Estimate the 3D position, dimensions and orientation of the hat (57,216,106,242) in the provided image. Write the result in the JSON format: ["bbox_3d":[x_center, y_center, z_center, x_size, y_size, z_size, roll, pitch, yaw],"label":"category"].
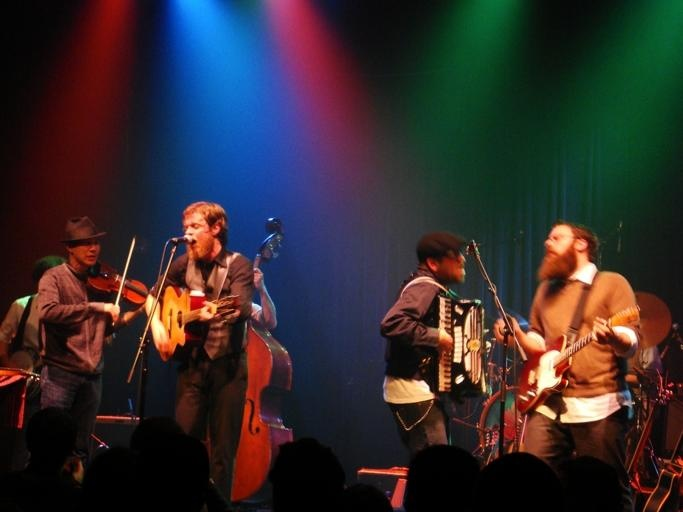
[{"bbox_3d":[-3.232,-0.338,8.121,0.357,0.167,0.311,-15,1,15],"label":"hat"}]

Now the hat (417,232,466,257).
[{"bbox_3d":[0.964,-0.117,6.513,0.346,0.199,0.265,-26,4,6],"label":"hat"}]

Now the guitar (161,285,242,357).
[{"bbox_3d":[-1.447,0.662,6.358,0.992,0.732,0.336,1,-8,41],"label":"guitar"}]

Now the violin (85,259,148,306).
[{"bbox_3d":[-2.663,0.331,7.774,0.871,0.346,0.173,33,-58,-30],"label":"violin"}]
